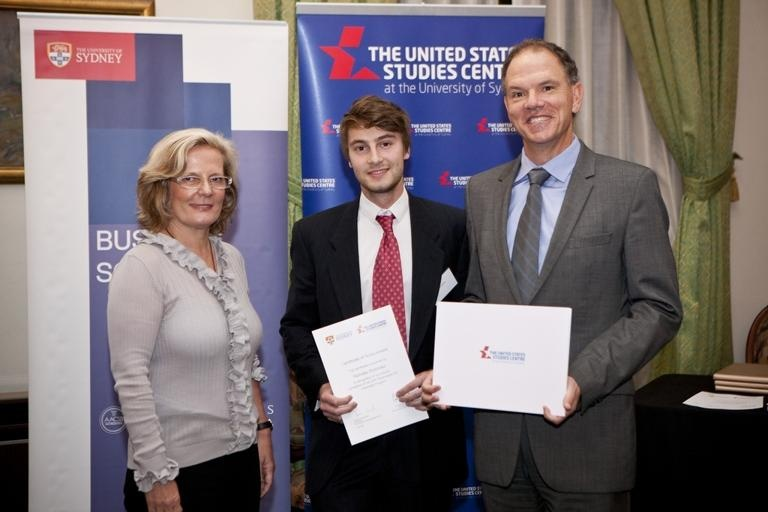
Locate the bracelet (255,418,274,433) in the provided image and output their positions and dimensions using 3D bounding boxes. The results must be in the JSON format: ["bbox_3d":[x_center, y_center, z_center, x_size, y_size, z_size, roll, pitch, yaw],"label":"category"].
[{"bbox_3d":[-0.670,0.946,3.746,0.066,0.073,0.067,-9,-18,29],"label":"bracelet"}]

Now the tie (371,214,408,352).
[{"bbox_3d":[0.025,0.130,3.657,0.186,0.699,0.207,-2,6,5],"label":"tie"}]
